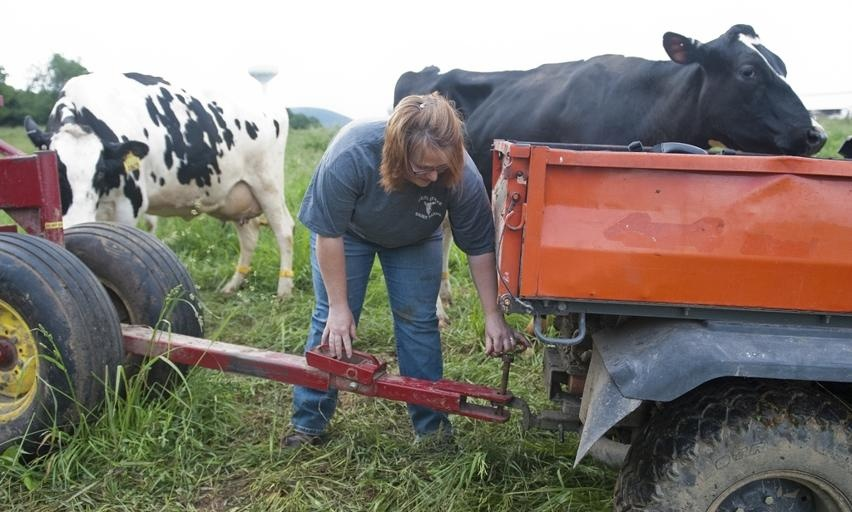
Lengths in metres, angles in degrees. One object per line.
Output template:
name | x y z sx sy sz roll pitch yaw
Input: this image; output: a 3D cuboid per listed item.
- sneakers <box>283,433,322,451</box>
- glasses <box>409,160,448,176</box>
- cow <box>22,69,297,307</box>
sneakers | -0.877 1.318 5.369 0.196 0.082 0.114 7 -16 -5
glasses | 0.004 -0.537 4.699 0.227 0.089 0.044 3 14 -3
cow | -2.518 -0.847 7.619 1.003 1.847 2.583 16 19 41
